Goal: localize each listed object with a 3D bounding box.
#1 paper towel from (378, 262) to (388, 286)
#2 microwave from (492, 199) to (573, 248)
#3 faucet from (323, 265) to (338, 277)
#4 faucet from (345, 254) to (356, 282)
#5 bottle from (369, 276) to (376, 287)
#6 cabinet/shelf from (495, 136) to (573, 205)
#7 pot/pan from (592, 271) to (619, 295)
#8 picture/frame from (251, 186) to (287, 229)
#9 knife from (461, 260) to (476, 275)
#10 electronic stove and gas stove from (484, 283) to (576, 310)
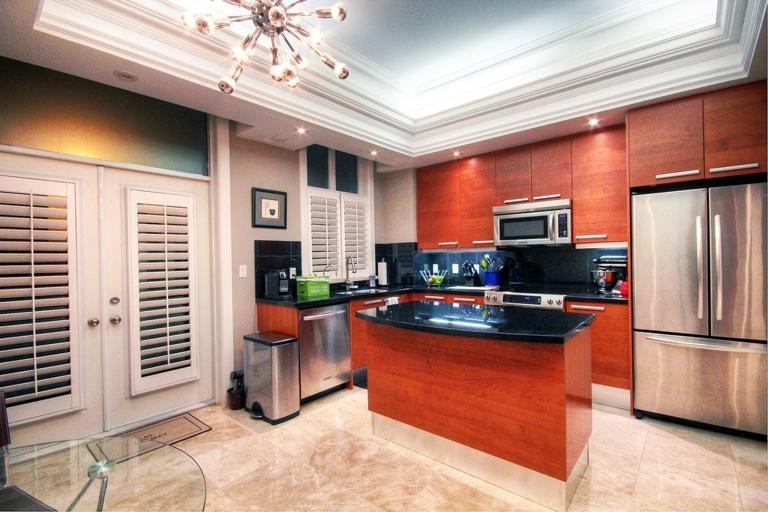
[{"bbox_3d":[-0.024,0.246,6.586,0.138,0.277,0.198,-3,1,-5],"label":"paper towel"},{"bbox_3d":[1.794,-0.207,5.508,0.871,0.511,0.527,-3,-6,43],"label":"microwave"},{"bbox_3d":[-0.686,0.199,6.077,0.051,0.148,0.270,-2,1,34],"label":"faucet"},{"bbox_3d":[-0.456,0.182,6.282,0.120,0.328,0.305,-3,1,10],"label":"faucet"},{"bbox_3d":[-0.159,0.359,6.566,0.131,0.156,0.138,2,-1,21],"label":"bottle"},{"bbox_3d":[1.769,-0.992,5.484,0.845,0.568,0.322,-2,-4,37],"label":"cabinet/shelf"},{"bbox_3d":[2.308,0.282,4.989,0.267,0.240,0.240,0,-3,18],"label":"pot/pan"},{"bbox_3d":[-1.327,-0.546,5.389,0.547,0.497,0.038,3,-6,-44],"label":"picture/frame"},{"bbox_3d":[1.137,0.158,6.336,0.164,0.152,0.217,-3,1,2],"label":"knife"},{"bbox_3d":[1.577,0.486,5.318,0.919,0.148,0.273,-2,1,45],"label":"electronic stove and gas stove"}]
